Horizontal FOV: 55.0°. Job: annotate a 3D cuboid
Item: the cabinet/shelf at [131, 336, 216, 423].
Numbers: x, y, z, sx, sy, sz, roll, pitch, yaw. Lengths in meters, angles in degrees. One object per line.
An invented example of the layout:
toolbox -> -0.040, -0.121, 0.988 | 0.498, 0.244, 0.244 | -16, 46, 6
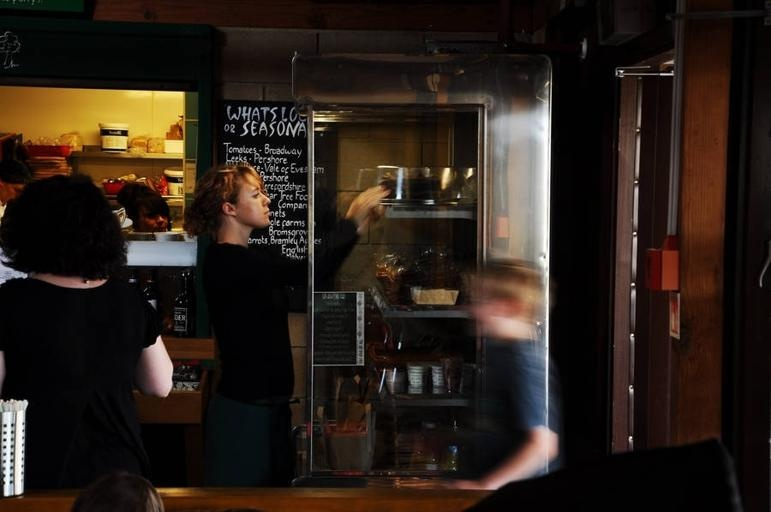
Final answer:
cabinet/shelf -> -1.104, 0.668, 3.995 | 0.314, 0.148, 0.454 | 1, 8, -1

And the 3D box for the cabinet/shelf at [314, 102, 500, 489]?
cabinet/shelf -> 0.062, 0.143, 3.226 | 0.764, 1.644, 0.649 | 1, 4, 0

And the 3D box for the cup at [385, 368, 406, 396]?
cup -> 0.049, 0.513, 3.027 | 0.093, 0.102, 0.093 | 0, 1, 0

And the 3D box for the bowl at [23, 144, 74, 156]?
bowl -> -2.015, -0.629, 4.425 | 0.137, 0.046, 0.114 | 1, 2, -1

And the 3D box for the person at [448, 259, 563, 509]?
person -> 0.471, 0.475, 2.725 | 0.369, 0.890, 0.507 | 2, 4, 9

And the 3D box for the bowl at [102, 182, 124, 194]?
bowl -> -1.644, -0.408, 4.466 | 0.088, 0.040, 0.089 | 1, -1, 0

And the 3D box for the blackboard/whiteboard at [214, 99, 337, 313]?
blackboard/whiteboard -> -0.654, -0.414, 4.111 | 0.515, 0.959, 0.074 | 0, -26, -10

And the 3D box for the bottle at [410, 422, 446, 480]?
bottle -> 0.174, 0.790, 3.013 | 0.165, 0.312, 0.168 | 1, -4, 0
